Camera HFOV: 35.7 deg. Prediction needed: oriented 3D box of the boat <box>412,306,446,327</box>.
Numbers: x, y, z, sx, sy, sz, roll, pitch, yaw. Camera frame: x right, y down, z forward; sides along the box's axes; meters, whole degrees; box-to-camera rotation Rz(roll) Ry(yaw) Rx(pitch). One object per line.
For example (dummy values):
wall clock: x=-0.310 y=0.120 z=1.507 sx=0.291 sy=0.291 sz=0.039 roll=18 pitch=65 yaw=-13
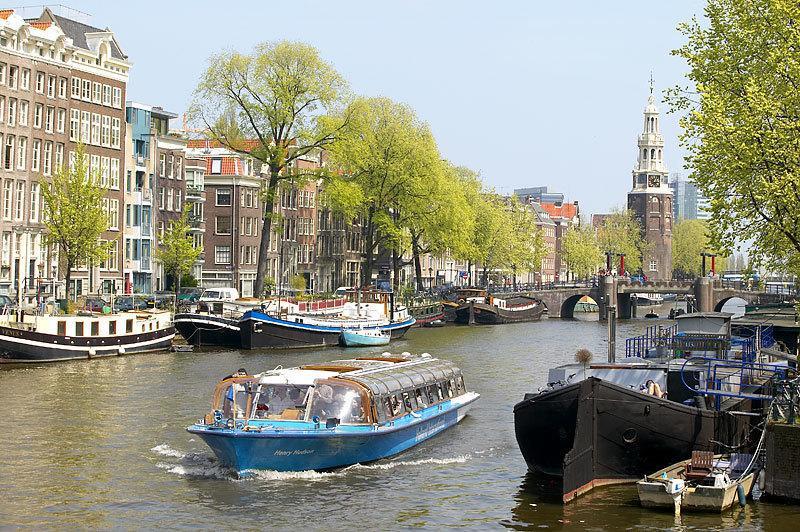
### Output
boat: x=2.140 y=3.843 z=96.818 sx=1.336 sy=1.727 sz=6.801 roll=-2 pitch=-4 yaw=10

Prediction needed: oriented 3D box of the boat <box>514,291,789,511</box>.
boat: x=8.426 y=5.430 z=42.830 sx=8.009 sy=5.824 sz=6.838 roll=0 pitch=-1 yaw=25

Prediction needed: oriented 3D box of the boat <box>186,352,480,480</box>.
boat: x=-1.328 y=5.240 z=46.395 sx=4.748 sy=3.892 sz=15.080 roll=-3 pitch=-4 yaw=34

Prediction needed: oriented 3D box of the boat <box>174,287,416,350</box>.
boat: x=-5.036 y=2.983 z=76.631 sx=4.660 sy=2.396 sz=15.207 roll=-3 pitch=-7 yaw=33
